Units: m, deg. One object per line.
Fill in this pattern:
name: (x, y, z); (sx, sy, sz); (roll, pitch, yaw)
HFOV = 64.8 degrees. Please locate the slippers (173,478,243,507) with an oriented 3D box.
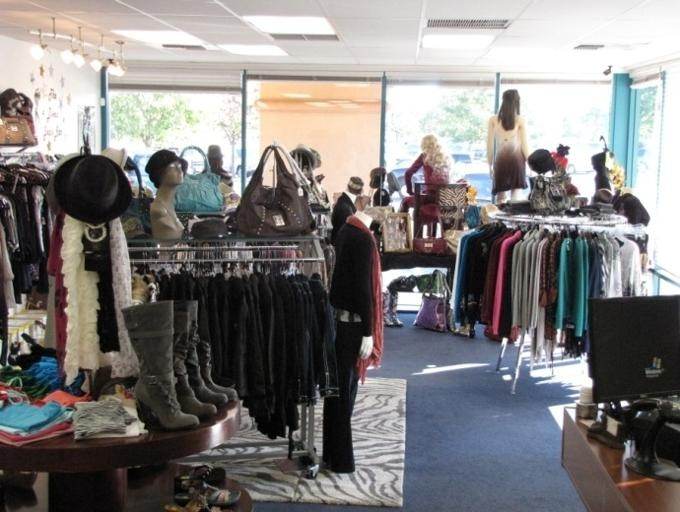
slippers: (-0.569, 1.036, 2.336); (0.216, 0.080, 0.129); (3, 0, -11)

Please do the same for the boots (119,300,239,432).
boots: (-0.635, 0.410, 2.137); (0.409, 0.478, 0.285); (-3, 8, -26)

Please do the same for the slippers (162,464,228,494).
slippers: (-0.635, 1.013, 2.446); (0.159, 0.058, 0.115); (-5, 4, -29)

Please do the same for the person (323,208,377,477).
person: (0.083, 0.618, 3.645); (0.394, 1.821, 0.383); (1, 7, 1)

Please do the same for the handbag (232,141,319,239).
handbag: (-0.466, -0.447, 3.651); (0.592, 0.614, 0.398); (-1, 7, -17)

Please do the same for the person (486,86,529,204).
person: (2.185, -1.411, 7.022); (0.526, 1.409, 0.812); (3, 7, 15)

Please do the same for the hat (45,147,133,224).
hat: (-1.074, -0.283, 2.284); (0.324, 0.295, 0.189); (4, 8, 24)

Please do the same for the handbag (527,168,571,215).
handbag: (2.002, -0.592, 5.163); (0.415, 0.431, 0.317); (-1, 10, 7)

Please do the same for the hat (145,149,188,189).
hat: (-1.153, -0.565, 3.480); (0.212, 0.246, 0.121); (-2, 7, -19)

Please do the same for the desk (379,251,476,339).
desk: (1.117, 0.450, 7.483); (0.991, 1.144, 1.224); (2, 7, 10)

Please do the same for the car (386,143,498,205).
car: (1.612, -1.336, 8.846); (1.712, 0.610, 0.855); (0, 19, 5)

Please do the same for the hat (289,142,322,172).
hat: (-0.302, -0.946, 5.086); (0.157, 0.278, 0.388); (-39, 2, -10)
